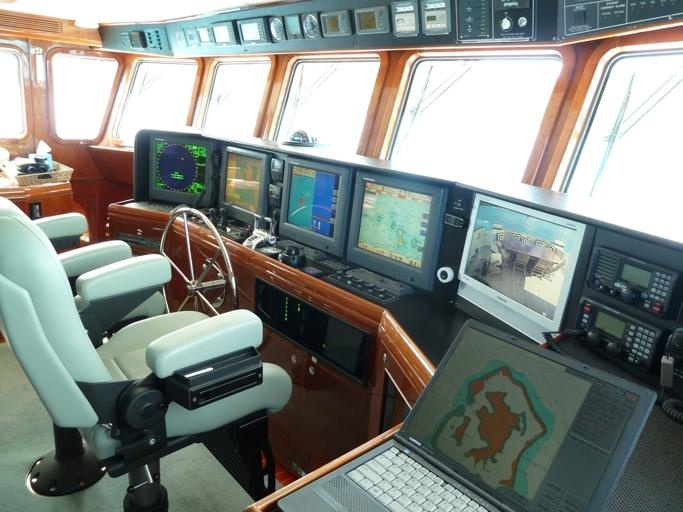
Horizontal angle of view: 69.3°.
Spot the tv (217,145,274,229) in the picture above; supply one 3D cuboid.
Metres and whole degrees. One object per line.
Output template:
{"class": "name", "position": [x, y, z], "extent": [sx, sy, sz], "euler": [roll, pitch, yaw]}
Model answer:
{"class": "tv", "position": [-0.605, -0.442, 3.179], "extent": [0.162, 0.461, 0.455], "euler": [-9, 25, -44]}

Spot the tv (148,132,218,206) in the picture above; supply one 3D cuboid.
{"class": "tv", "position": [-1.131, -0.646, 3.588], "extent": [0.483, 0.435, 0.065], "euler": [12, 17, 24]}

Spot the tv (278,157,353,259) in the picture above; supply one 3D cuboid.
{"class": "tv", "position": [-0.128, -0.260, 2.682], "extent": [0.252, 0.447, 0.455], "euler": [-6, 21, -45]}

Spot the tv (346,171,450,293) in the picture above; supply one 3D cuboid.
{"class": "tv", "position": [0.279, -0.108, 2.287], "extent": [0.062, 0.453, 0.466], "euler": [-1, 19, -45]}
